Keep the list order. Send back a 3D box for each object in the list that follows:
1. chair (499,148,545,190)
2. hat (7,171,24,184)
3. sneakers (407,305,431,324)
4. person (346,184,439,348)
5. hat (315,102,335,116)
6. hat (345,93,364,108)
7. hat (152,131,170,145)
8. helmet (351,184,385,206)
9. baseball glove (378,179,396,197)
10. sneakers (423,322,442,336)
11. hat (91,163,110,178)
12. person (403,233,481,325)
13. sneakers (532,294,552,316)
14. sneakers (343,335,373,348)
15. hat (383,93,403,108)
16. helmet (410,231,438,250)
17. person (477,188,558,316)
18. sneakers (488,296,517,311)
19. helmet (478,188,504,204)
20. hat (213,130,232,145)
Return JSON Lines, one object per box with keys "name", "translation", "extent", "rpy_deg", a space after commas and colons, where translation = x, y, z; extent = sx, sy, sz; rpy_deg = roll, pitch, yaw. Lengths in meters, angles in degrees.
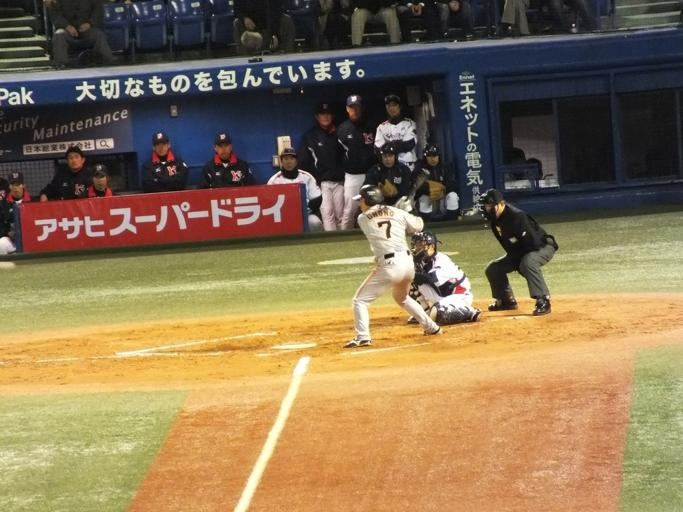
{"name": "chair", "translation": [3.563, -1.693, 21.293], "extent": [0.763, 0.737, 0.783], "rpy_deg": [-1, 14, 15]}
{"name": "hat", "translation": [-5.961, -1.410, 19.809], "extent": [0.233, 0.189, 0.273], "rpy_deg": [-10, 14, -22]}
{"name": "sneakers", "translation": [1.003, 0.790, 14.293], "extent": [0.229, 0.112, 0.291], "rpy_deg": [-16, -4, -24]}
{"name": "person", "translation": [0.499, 0.139, 13.031], "extent": [1.187, 1.923, 0.698], "rpy_deg": [-11, 16, -19]}
{"name": "hat", "translation": [-0.330, -2.837, 20.923], "extent": [0.354, 0.211, 0.461], "rpy_deg": [-5, 12, -19]}
{"name": "hat", "translation": [0.220, -2.923, 20.403], "extent": [0.309, 0.201, 0.401], "rpy_deg": [0, -5, 4]}
{"name": "hat", "translation": [-3.334, -2.163, 19.948], "extent": [0.295, 0.171, 0.372], "rpy_deg": [-11, 5, -4]}
{"name": "helmet", "translation": [0.276, -0.744, 13.158], "extent": [0.416, 0.179, 0.290], "rpy_deg": [10, 14, 35]}
{"name": "baseball glove", "translation": [0.810, -1.152, 18.680], "extent": [0.243, 0.292, 0.122], "rpy_deg": [-32, 2, -39]}
{"name": "sneakers", "translation": [1.090, 0.925, 13.269], "extent": [0.225, 0.121, 0.158], "rpy_deg": [-14, -31, 28]}
{"name": "hat", "translation": [-4.378, -1.544, 19.607], "extent": [0.267, 0.177, 0.366], "rpy_deg": [-3, -1, -5]}
{"name": "person", "translation": [1.268, 0.298, 13.971], "extent": [0.998, 1.073, 1.123], "rpy_deg": [-1, 7, -45]}
{"name": "sneakers", "translation": [2.568, 0.663, 13.893], "extent": [0.138, 0.148, 0.369], "rpy_deg": [8, 16, 31]}
{"name": "sneakers", "translation": [0.204, 1.050, 13.004], "extent": [0.368, 0.123, 0.127], "rpy_deg": [-2, 10, 5]}
{"name": "hat", "translation": [0.952, -2.928, 20.443], "extent": [0.255, 0.173, 0.367], "rpy_deg": [-1, 14, 8]}
{"name": "helmet", "translation": [1.019, -0.213, 13.767], "extent": [0.226, 0.138, 0.287], "rpy_deg": [0, -5, -24]}
{"name": "person", "translation": [2.269, -0.018, 13.947], "extent": [0.901, 1.715, 0.673], "rpy_deg": [-2, 16, 16]}
{"name": "sneakers", "translation": [2.160, 0.658, 14.489], "extent": [0.451, 0.150, 0.132], "rpy_deg": [1, 21, 4]}
{"name": "helmet", "translation": [1.968, -0.750, 13.792], "extent": [0.347, 0.152, 0.230], "rpy_deg": [-22, 26, -31]}
{"name": "hat", "translation": [-2.203, -2.176, 20.012], "extent": [0.313, 0.168, 0.386], "rpy_deg": [-3, -1, -6]}
